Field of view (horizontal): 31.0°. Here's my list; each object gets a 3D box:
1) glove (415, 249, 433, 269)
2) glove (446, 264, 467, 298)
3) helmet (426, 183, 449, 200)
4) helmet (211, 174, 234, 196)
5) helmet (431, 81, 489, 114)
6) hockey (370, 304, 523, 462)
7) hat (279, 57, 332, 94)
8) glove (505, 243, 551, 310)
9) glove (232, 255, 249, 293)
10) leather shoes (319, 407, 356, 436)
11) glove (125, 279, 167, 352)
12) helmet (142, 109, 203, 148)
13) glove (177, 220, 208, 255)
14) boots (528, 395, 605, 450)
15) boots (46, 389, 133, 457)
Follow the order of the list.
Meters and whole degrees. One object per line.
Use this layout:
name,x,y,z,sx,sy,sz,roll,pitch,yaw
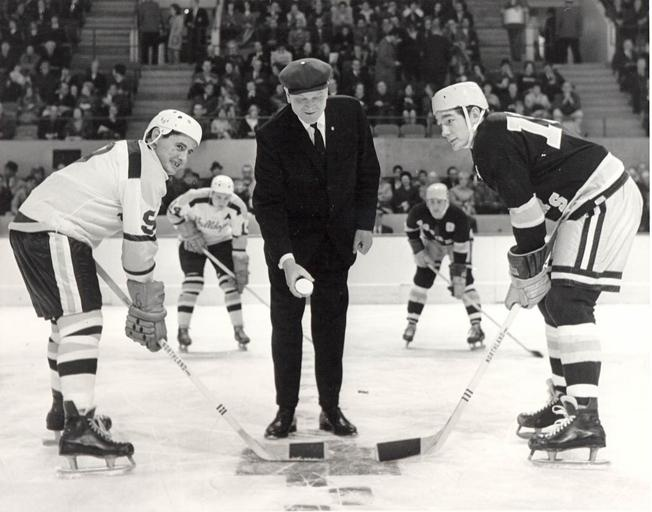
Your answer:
glove,0.916,0.027,10.820,0.133,0.158,0.172,-4,12,-5
glove,1.227,0.221,10.806,0.230,0.401,0.266,-2,-4,-1
helmet,1.026,-0.590,10.738,0.133,0.170,0.184,2,16,4
helmet,-0.911,-0.624,10.537,0.160,0.183,0.199,5,-10,-14
helmet,0.897,-1.046,7.786,0.375,0.204,0.284,1,3,-13
hockey,0.947,0.998,9.085,1.309,0.187,0.213,-40,40,-20
hat,-0.128,-1.178,7.701,0.335,0.224,0.192,0,9,-3
glove,1.339,0.157,7.768,0.286,0.418,0.292,-10,22,-16
glove,-0.756,0.157,10.739,0.168,0.289,0.092,0,-5,3
leather shoes,0.086,1.139,8.069,0.123,0.155,0.309,-1,-3,-40
glove,-1.170,0.386,7.670,0.255,0.479,0.161,-2,9,-10
helmet,-1.017,-0.850,7.791,0.364,0.282,0.293,20,10,27
glove,-1.204,-0.148,10.603,0.117,0.218,0.308,38,-31,-26
boots,1.585,1.116,7.669,0.568,0.414,0.239,-1,-8,8
boots,-1.522,1.095,7.675,0.468,0.408,0.584,-3,9,-17
